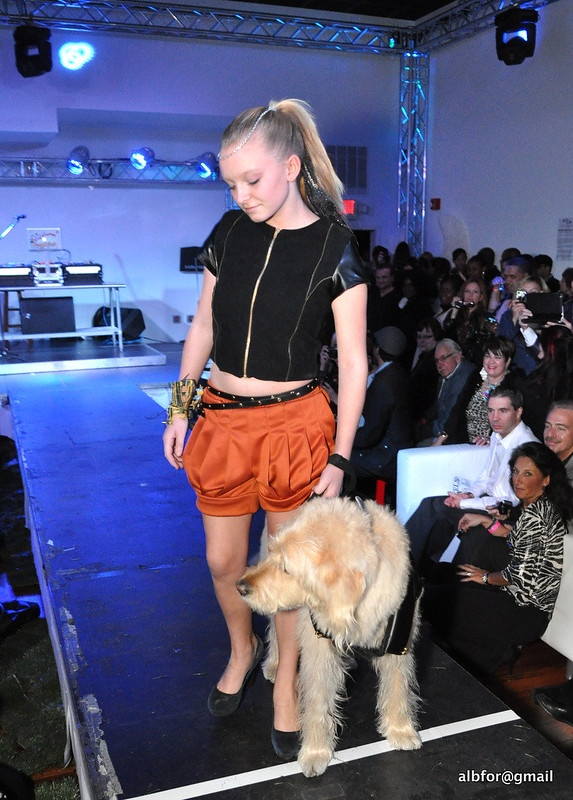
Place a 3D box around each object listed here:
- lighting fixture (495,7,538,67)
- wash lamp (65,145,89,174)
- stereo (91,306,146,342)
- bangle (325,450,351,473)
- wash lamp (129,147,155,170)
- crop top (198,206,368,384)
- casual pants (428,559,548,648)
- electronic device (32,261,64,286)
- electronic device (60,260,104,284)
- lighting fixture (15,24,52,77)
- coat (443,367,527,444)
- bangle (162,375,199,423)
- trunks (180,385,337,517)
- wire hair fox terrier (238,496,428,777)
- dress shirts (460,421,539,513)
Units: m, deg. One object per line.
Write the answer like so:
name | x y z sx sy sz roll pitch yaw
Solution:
lighting fixture | 2.661 -4.301 7.095 0.512 0.640 0.330 4 8 32
wash lamp | -3.174 -3.662 9.180 0.311 0.401 0.429 0 7 2
stereo | -2.600 -1.266 9.600 0.731 0.583 0.806 -1 14 -34
bangle | 0.096 0.114 1.089 0.058 0.040 0.026 -5 8 -35
wash lamp | -2.265 -3.831 9.507 0.374 0.381 0.473 -2 7 -12
crop top | -0.012 -0.196 1.141 0.337 0.282 0.191 18 43 19
casual pants | 0.836 0.884 2.676 0.615 0.279 0.824 -4 -8 15
electronic device | -3.080 -1.627 7.816 0.372 0.361 0.743 -3 7 -21
electronic device | -2.660 -1.671 7.974 0.467 0.368 0.736 1 6 8
lighting fixture | -3.230 -4.497 7.645 0.480 0.640 0.263 0 7 1
coat | 1.167 0.040 3.549 0.278 0.448 0.370 7 21 -13
bangle | -0.221 0.002 1.252 0.067 0.091 0.048 3 -34 -2
trunks | -0.057 0.083 1.198 0.298 0.248 0.150 -3 5 14
wire hair fox terrier | 0.090 0.364 1.067 0.257 0.447 0.423 -6 9 6
dress shirts | 1.020 0.314 2.914 0.287 0.390 0.337 3 7 27
